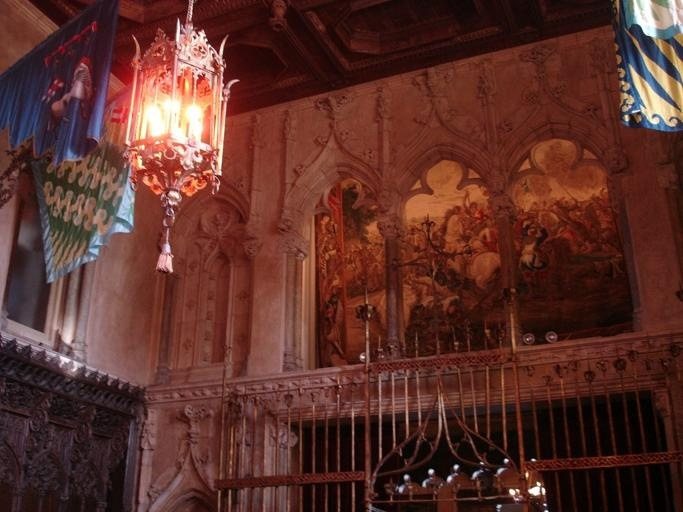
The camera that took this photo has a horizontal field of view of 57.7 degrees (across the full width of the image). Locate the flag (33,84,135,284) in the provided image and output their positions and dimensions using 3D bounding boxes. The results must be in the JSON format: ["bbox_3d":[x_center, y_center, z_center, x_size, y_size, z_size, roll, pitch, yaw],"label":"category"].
[{"bbox_3d":[-3.007,-0.865,7.079,0.267,2.140,2.478,12,-31,-41],"label":"flag"}]

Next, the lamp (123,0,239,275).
[{"bbox_3d":[-1.535,-1.308,5.967,0.742,2.658,0.849,-16,-30,29],"label":"lamp"}]
